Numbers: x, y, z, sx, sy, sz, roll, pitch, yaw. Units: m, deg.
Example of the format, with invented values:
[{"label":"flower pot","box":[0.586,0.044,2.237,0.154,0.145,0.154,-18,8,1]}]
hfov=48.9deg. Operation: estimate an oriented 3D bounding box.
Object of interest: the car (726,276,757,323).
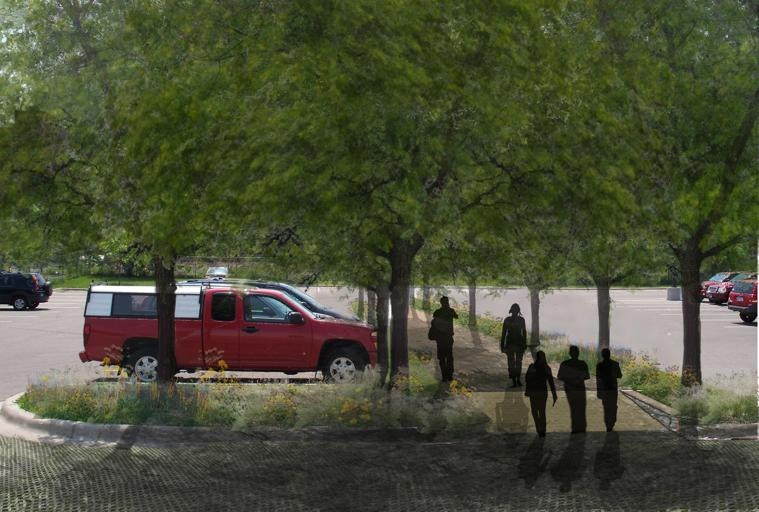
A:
[{"label":"car","box":[14.516,1.768,33.195,0.972,1.756,2.066,0,-3,21]}]
